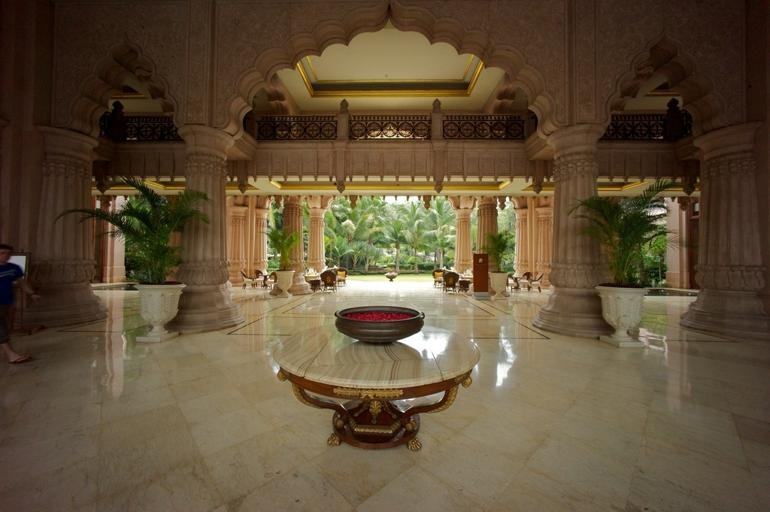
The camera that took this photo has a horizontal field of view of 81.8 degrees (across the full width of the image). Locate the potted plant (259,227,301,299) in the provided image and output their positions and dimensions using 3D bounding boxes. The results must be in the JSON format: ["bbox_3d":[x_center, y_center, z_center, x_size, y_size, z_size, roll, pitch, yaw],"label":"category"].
[{"bbox_3d":[-3.513,0.267,15.016,1.028,2.138,1.410,0,-4,11],"label":"potted plant"}]

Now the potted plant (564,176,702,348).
[{"bbox_3d":[4.660,0.131,8.759,1.653,3.127,1.000,-1,1,28],"label":"potted plant"}]

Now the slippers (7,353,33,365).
[{"bbox_3d":[-6.207,1.745,7.527,0.306,0.108,0.178,0,3,7],"label":"slippers"}]

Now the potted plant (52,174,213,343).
[{"bbox_3d":[-4.600,0.104,8.892,1.884,2.908,3.064,-4,-5,-6],"label":"potted plant"}]
